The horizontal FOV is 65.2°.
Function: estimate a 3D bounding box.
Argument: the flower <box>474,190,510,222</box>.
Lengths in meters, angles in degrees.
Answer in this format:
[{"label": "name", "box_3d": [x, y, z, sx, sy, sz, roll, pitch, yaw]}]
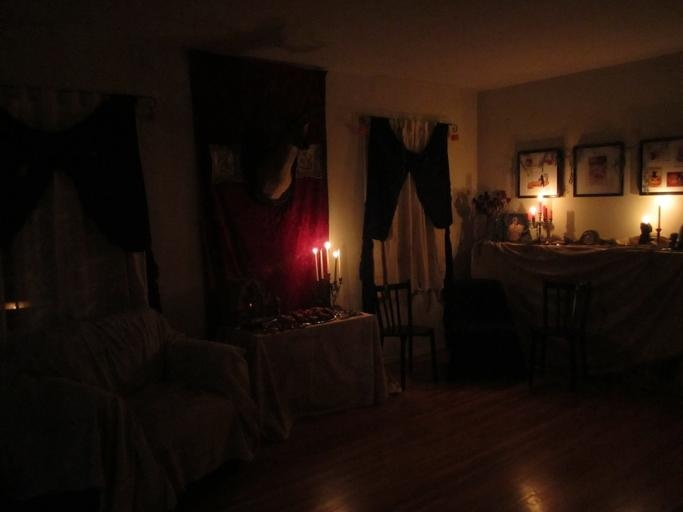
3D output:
[{"label": "flower", "box_3d": [1.730, -0.606, 6.236, 0.428, 0.324, 0.272, 10, 15, 42]}]

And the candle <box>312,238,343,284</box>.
[{"label": "candle", "box_3d": [-0.141, 0.076, 4.986, 0.302, 0.440, 0.334, -3, 1, -41]}]

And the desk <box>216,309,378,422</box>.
[{"label": "desk", "box_3d": [-0.356, 0.666, 4.475, 1.071, 0.777, 0.725, -6, -4, -39]}]
